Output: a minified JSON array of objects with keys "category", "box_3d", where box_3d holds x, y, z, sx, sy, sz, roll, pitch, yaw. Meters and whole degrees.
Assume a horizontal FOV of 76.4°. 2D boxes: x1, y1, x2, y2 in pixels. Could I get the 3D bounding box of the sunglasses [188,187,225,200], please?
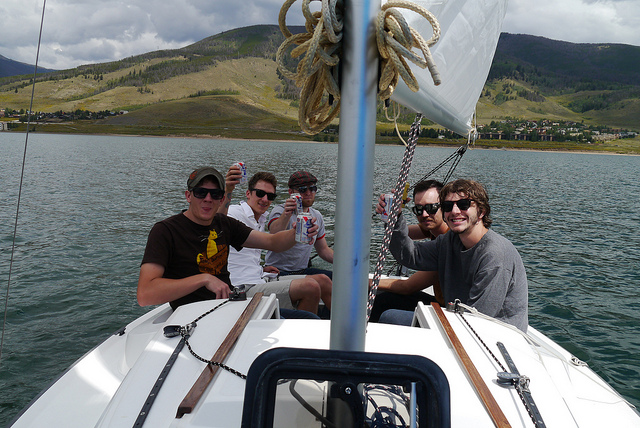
[{"category":"sunglasses","box_3d":[-1.207,-0.240,4.308,0.341,0.134,0.125,-1,13,-17]}]
